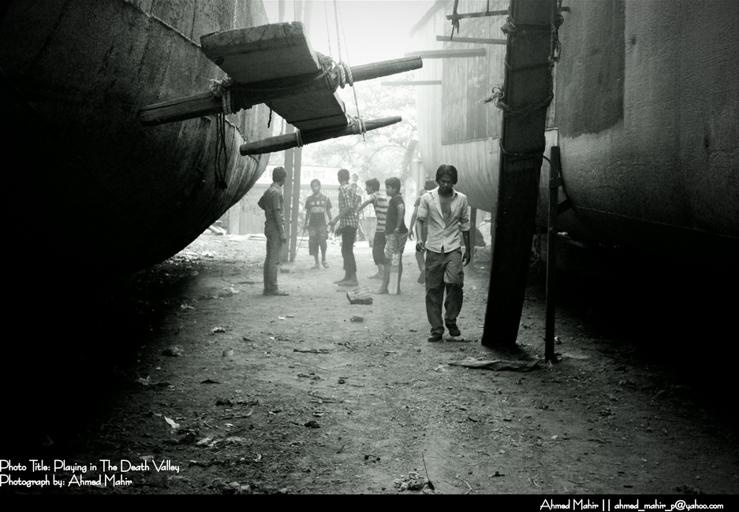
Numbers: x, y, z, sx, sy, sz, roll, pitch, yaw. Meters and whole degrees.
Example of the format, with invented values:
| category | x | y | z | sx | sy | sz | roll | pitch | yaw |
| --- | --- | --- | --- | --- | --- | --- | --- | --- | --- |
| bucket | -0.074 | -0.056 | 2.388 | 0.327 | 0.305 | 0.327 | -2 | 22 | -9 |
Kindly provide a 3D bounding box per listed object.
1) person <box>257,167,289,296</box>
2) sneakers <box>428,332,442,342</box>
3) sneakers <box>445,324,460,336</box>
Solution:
| category | x | y | z | sx | sy | sz | roll | pitch | yaw |
| --- | --- | --- | --- | --- | --- | --- | --- | --- | --- |
| person | -1.385 | -0.356 | 9.552 | 0.369 | 1.804 | 0.754 | 0 | 9 | -9 |
| sneakers | 0.693 | 0.852 | 6.972 | 0.143 | 0.075 | 0.066 | 4 | -9 | -7 |
| sneakers | 0.905 | 0.792 | 7.105 | 0.153 | 0.144 | 0.175 | 2 | 8 | 5 |
